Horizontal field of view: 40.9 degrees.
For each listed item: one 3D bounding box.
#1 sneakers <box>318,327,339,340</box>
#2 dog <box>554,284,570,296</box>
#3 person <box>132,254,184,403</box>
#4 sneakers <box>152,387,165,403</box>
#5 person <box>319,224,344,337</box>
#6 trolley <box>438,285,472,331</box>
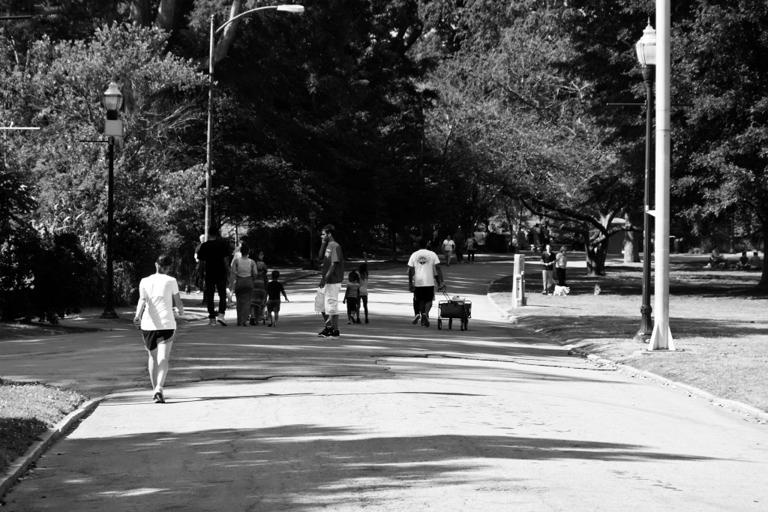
[{"bbox_3d":[-1.384,1.945,25.976,0.561,0.284,0.213,3,-1,-7],"label":"sneakers"},{"bbox_3d":[7.657,1.465,44.558,0.650,0.397,1.373,-1,-1,9],"label":"dog"},{"bbox_3d":[-3.909,1.214,17.882,0.788,2.551,1.365,-1,0,-12],"label":"person"},{"bbox_3d":[-3.817,2.354,17.439,0.188,0.243,0.297,-1,-1,-13],"label":"sneakers"},{"bbox_3d":[-1.352,0.623,25.932,0.582,2.679,0.679,-1,0,2],"label":"person"},{"bbox_3d":[1.933,1.477,28.935,0.909,1.190,1.393,0,-3,12],"label":"trolley"}]
